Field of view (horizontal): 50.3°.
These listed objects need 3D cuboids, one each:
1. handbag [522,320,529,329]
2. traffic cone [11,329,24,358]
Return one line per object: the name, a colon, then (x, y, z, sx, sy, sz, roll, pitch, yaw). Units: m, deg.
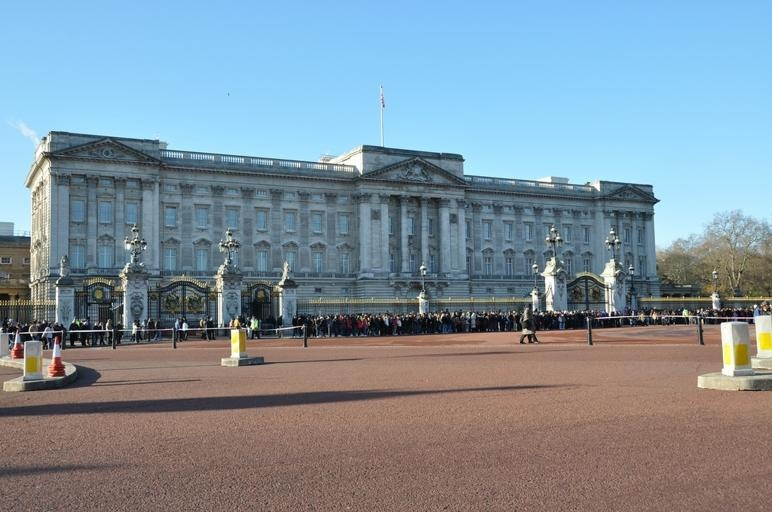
handbag: (6.000, 2.952, 35.121, 0.308, 0.363, 0.605, -1, -4, 4)
traffic cone: (-12.739, 3.156, 28.430, 0.311, 0.814, 1.372, 1, -5, -24)
